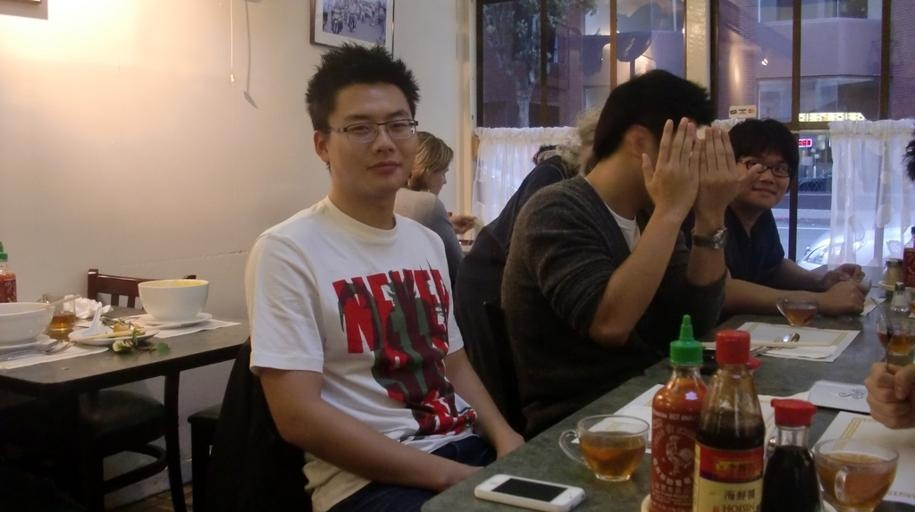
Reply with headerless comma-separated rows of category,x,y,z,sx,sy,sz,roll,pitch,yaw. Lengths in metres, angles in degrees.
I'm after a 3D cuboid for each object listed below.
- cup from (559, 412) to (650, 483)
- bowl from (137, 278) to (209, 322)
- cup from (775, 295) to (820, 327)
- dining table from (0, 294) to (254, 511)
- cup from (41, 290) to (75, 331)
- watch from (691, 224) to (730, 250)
cup,0.415,0.529,1.742,0.216,0.117,0.167,-3,2,21
bowl,-1.348,0.211,2.981,0.338,0.186,0.330,2,7,0
cup,1.498,0.239,2.725,0.138,0.093,0.135,0,0,0
dining table,-1.514,0.730,2.809,0.850,0.792,0.857,16,20,39
cup,-1.793,0.245,2.846,0.189,0.189,0.173,2,5,0
watch,0.996,-0.073,2.422,0.098,0.056,0.097,2,-4,-36
